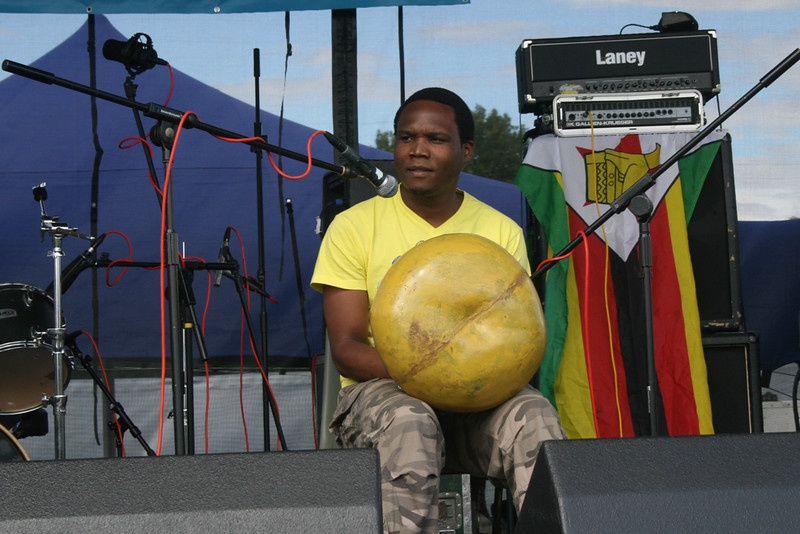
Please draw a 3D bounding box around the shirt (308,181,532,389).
[{"bbox_3d":[0.139,0.124,9.464,1.329,1.253,0.670,2,-13,-6],"label":"shirt"}]

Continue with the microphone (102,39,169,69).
[{"bbox_3d":[-1.641,-1.307,10.180,0.332,0.165,0.199,16,2,-16],"label":"microphone"}]

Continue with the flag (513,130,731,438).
[{"bbox_3d":[1.652,-0.127,11.183,1.395,2.324,1.354,0,26,10],"label":"flag"}]
